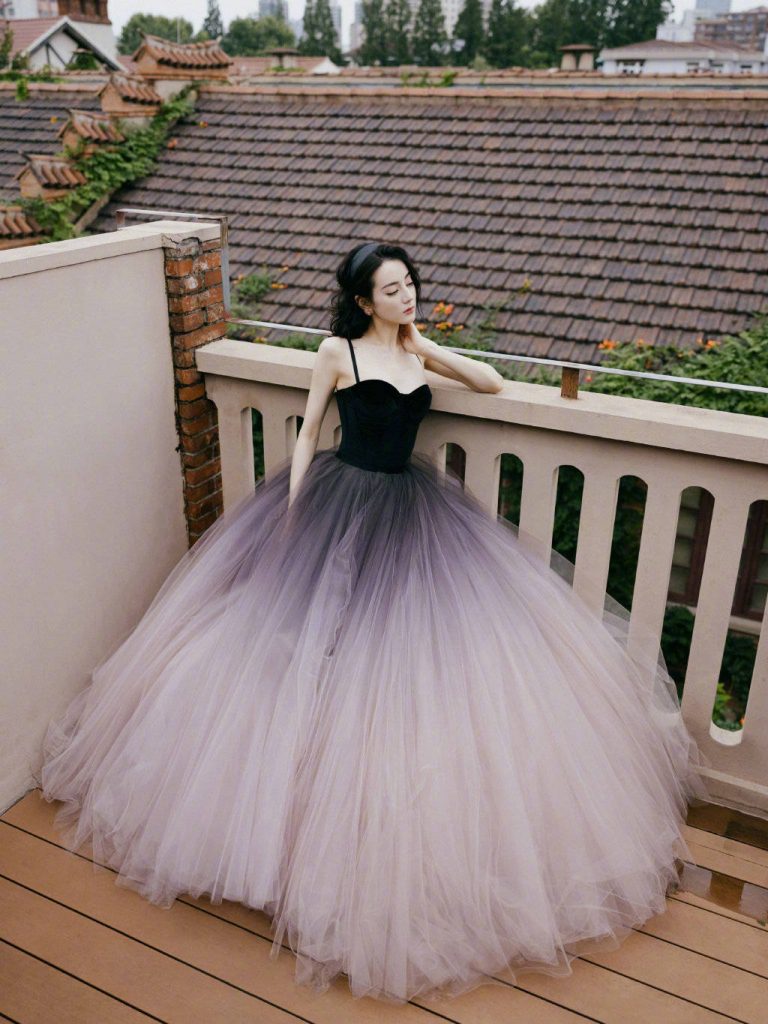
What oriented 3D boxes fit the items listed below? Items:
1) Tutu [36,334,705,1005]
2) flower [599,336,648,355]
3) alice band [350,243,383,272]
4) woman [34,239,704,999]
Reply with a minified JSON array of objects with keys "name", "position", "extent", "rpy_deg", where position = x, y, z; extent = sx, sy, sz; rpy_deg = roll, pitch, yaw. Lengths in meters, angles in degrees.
[{"name":"Tutu","position":[0.023,0.301,2.078],"extent":[1.359,0.841,1.413],"rpy_deg":[-8,20,-40]},{"name":"flower","position":[1.479,-1.031,5.485],"extent":[0.274,0.091,0.109],"rpy_deg":[-6,35,4]},{"name":"alice band","position":[-0.046,-0.573,1.987],"extent":[0.055,0.075,0.028],"rpy_deg":[-4,56,-46]},{"name":"woman","position":[-0.016,0.107,1.989],"extent":[1.536,1.216,1.304],"rpy_deg":[-4,20,-4]}]
